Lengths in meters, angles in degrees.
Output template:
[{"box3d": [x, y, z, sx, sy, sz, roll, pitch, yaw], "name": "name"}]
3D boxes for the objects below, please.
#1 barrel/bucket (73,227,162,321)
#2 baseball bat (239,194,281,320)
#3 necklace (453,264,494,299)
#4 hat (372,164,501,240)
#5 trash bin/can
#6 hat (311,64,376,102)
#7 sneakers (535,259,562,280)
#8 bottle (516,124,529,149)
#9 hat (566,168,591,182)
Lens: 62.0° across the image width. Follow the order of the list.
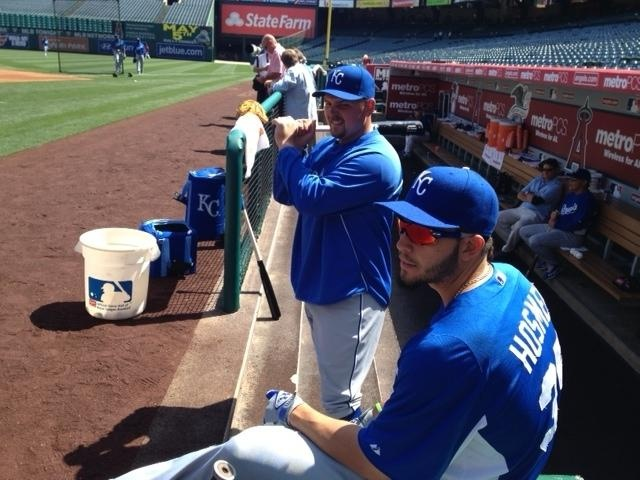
[{"box3d": [-1.496, 0.242, 4.271, 0.807, 0.684, 0.668, 5, 12, -6], "name": "barrel/bucket"}, {"box3d": [-0.593, 0.183, 5.170, 0.103, 1.309, 0.146, -18, -1, -4], "name": "baseball bat"}, {"box3d": [0.596, 0.149, 2.061, 0.148, 0.037, 0.109, -40, 19, -2], "name": "necklace"}, {"box3d": [0.480, -0.136, 2.140, 0.365, 0.196, 0.270, 12, 11, -6], "name": "hat"}, {"box3d": [-1.219, -0.369, 5.622, 0.617, 0.792, 0.596, 0, 30, -13], "name": "trash bin/can"}, {"box3d": [0.150, -0.859, 2.980, 0.292, 0.148, 0.214, -5, 20, -34], "name": "hat"}, {"box3d": [2.690, 0.343, 6.257, 0.189, 0.082, 0.231, -4, 15, -9], "name": "sneakers"}, {"box3d": [3.281, -1.682, 8.621, 0.098, 0.354, 0.209, 4, -2, -41], "name": "bottle"}, {"box3d": [2.986, -0.752, 6.151, 0.232, 0.126, 0.145, 12, 18, 22], "name": "hat"}]
